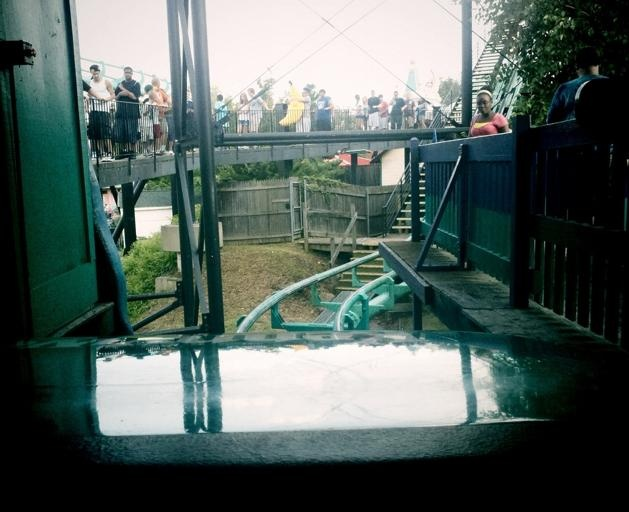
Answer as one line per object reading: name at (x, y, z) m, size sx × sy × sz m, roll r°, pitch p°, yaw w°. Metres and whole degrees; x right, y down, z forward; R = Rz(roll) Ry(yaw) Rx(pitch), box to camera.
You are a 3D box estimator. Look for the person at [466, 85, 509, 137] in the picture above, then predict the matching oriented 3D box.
person at (1.833, -1.483, 6.745) m, size 0.361 × 0.471 × 0.887 m, roll 1°, pitch 14°, yaw 13°
